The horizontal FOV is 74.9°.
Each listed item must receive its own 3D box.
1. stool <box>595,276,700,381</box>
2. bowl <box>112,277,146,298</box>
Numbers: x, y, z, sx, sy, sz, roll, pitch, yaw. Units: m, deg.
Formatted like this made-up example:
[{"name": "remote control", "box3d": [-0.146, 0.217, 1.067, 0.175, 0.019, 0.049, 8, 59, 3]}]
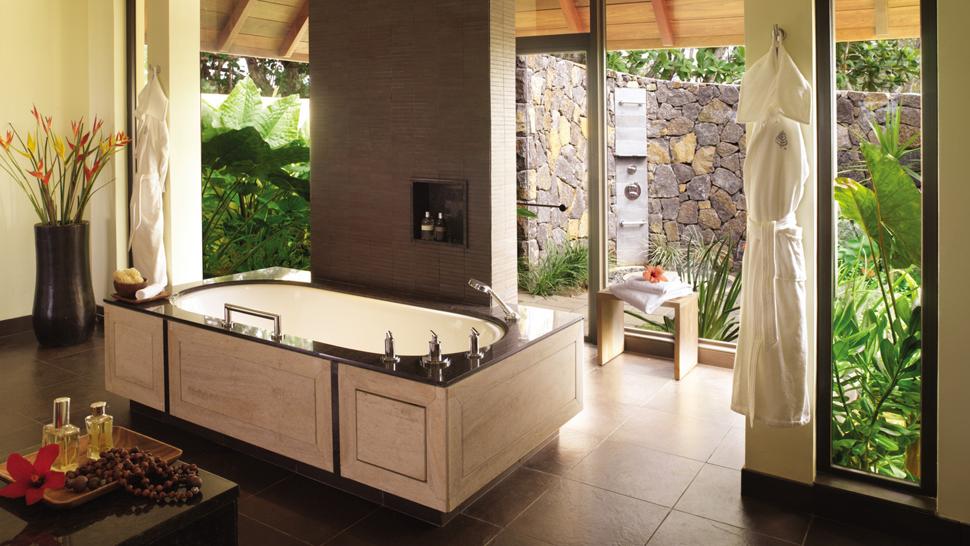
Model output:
[{"name": "stool", "box3d": [1.386, 0.455, 5.470, 0.722, 0.875, 0.647, 4, -1, -25]}, {"name": "bowl", "box3d": [-2.612, 0.103, 4.659, 0.164, 0.079, 0.160, 1, 3, 0]}]
